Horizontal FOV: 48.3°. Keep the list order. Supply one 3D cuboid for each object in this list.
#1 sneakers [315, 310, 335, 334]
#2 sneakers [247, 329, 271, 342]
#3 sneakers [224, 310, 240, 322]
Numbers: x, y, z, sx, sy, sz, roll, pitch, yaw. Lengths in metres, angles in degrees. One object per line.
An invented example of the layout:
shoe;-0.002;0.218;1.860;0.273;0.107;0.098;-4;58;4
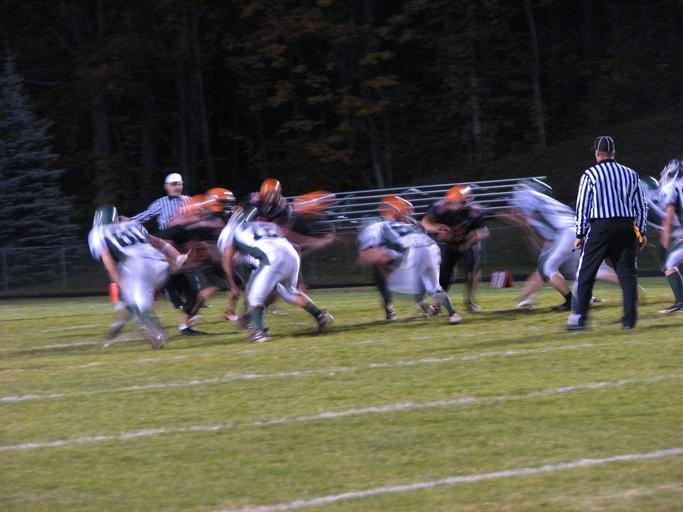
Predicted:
sneakers;-0.253;0.941;10.537;0.219;0.124;0.390;16;-34;-6
sneakers;-1.100;1.039;10.030;0.266;0.112;0.270;-4;3;10
sneakers;-1.733;0.980;12.432;0.263;0.131;0.530;-3;3;-29
